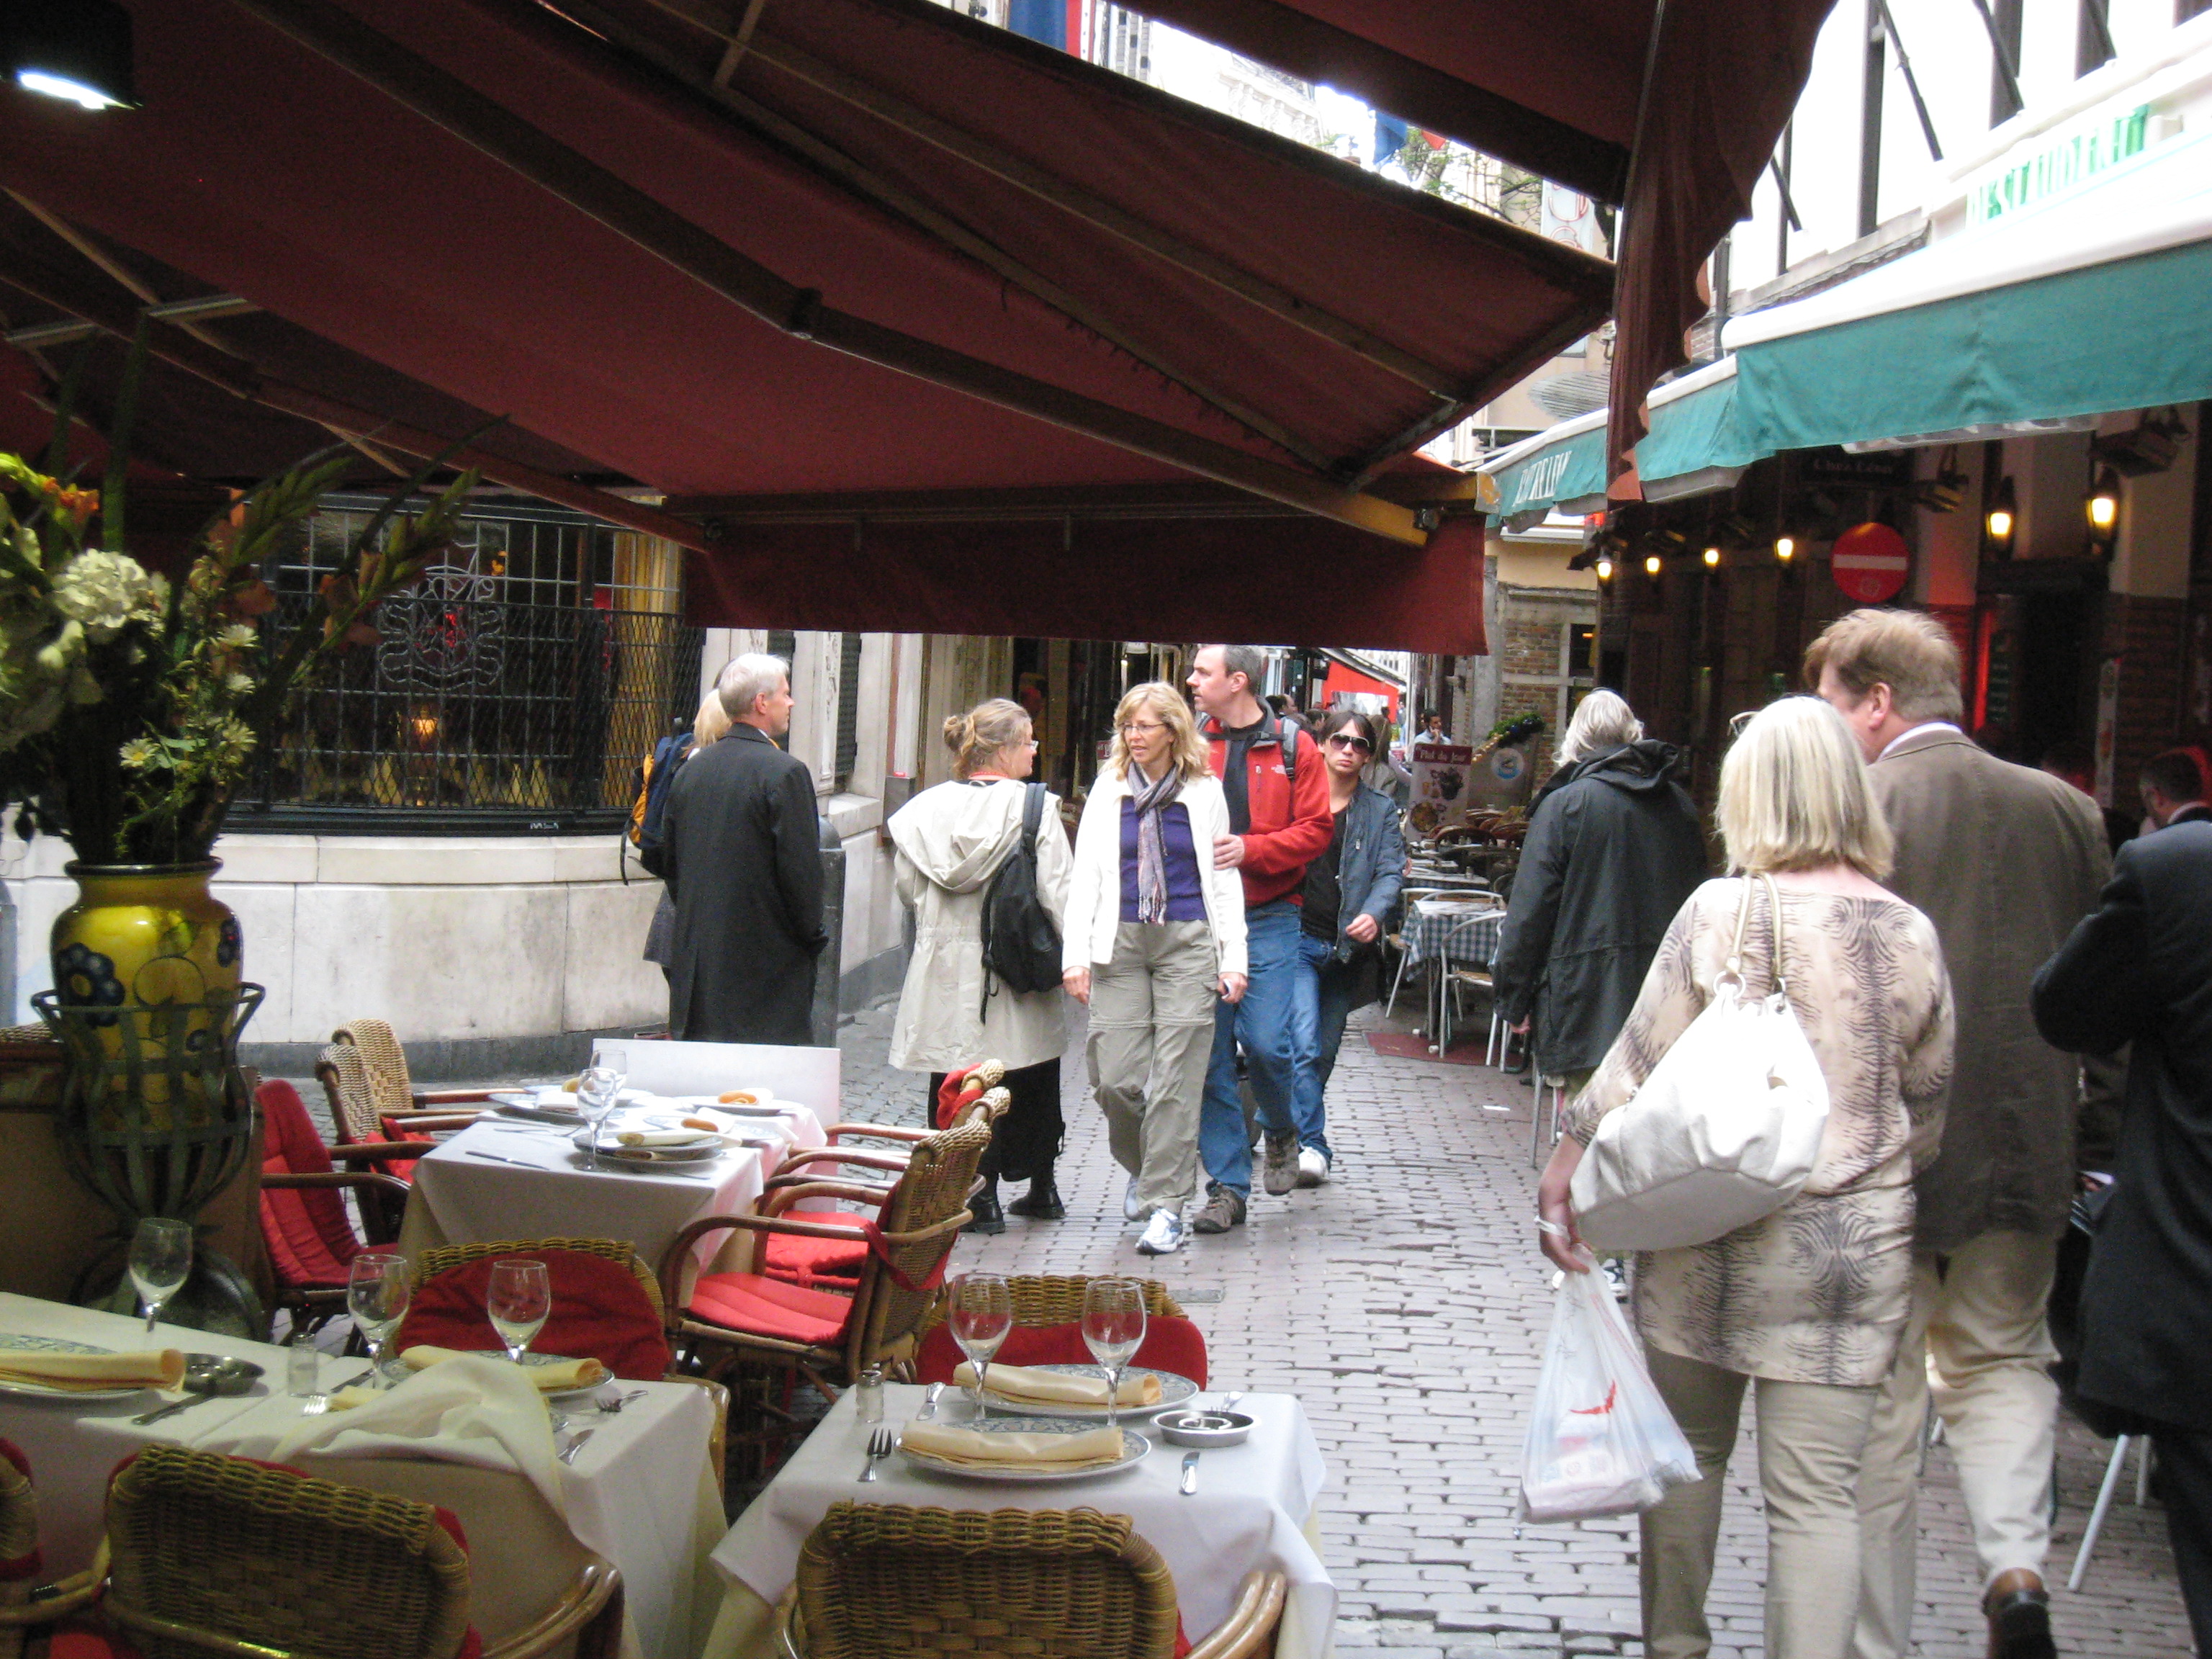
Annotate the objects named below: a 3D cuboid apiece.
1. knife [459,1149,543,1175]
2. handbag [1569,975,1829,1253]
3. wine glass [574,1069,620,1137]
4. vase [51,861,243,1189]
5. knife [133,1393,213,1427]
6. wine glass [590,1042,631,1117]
[{"bbox_3d":[-1.954,1.069,6.168,0.145,0.038,0.099,3,2,3],"label":"knife"},{"bbox_3d":[1.397,0.676,4.408,0.464,0.250,0.479,-48,7,49],"label":"handbag"},{"bbox_3d":[-1.807,0.989,6.809,0.151,0.281,0.171,2,1,13],"label":"wine glass"},{"bbox_3d":[-2.435,0.544,4.866,0.529,0.977,0.511,-4,7,-41],"label":"vase"},{"bbox_3d":[-1.931,1.194,3.934,0.024,0.011,0.188,16,8,14],"label":"knife"},{"bbox_3d":[-1.830,0.918,7.004,0.188,0.328,0.189,1,8,-15],"label":"wine glass"}]
